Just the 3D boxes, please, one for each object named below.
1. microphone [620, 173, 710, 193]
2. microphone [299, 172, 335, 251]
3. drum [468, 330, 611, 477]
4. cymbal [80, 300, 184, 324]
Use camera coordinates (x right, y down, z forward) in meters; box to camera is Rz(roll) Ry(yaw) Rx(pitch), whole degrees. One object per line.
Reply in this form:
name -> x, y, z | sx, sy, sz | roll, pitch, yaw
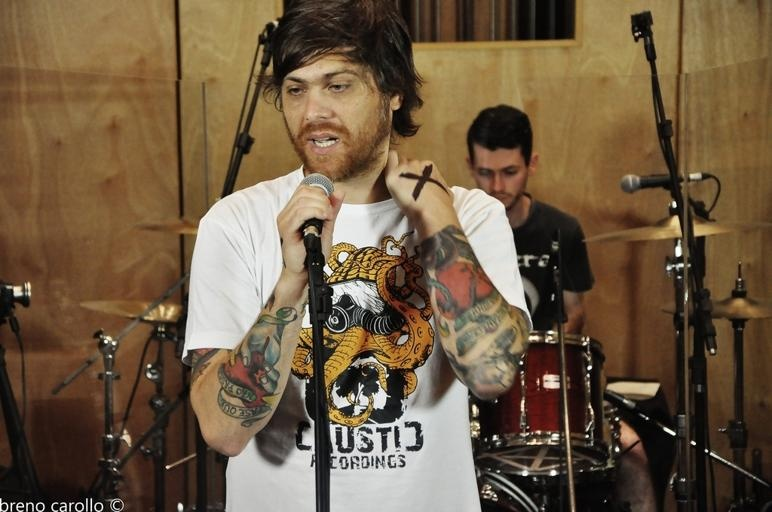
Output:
microphone -> 1.525, -0.393, 6.186 | 0.439, 0.137, 0.125 | -3, 14, 3
microphone -> -0.277, -0.186, 4.729 | 0.134, 0.332, 0.222 | -1, -3, -4
drum -> 0.824, 0.873, 6.271 | 0.707, 0.697, 0.734 | 9, -18, -11
cymbal -> -1.396, 0.293, 6.394 | 0.598, 0.231, 0.059 | 1, 36, -18
